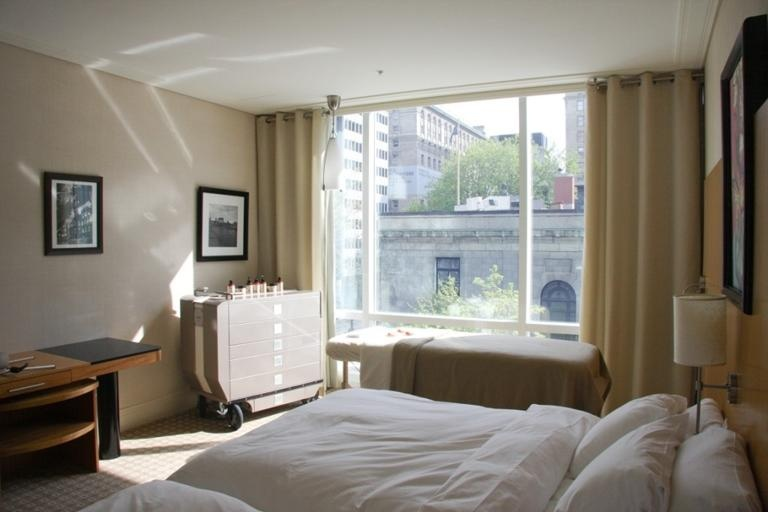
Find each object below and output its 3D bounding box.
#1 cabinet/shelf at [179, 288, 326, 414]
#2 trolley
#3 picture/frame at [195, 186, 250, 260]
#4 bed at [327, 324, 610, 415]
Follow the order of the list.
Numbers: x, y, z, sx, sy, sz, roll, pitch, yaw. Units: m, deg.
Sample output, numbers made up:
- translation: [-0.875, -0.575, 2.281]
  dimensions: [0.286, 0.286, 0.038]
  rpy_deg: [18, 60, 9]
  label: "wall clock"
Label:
- translation: [-1.366, 0.925, 6.315]
  dimensions: [1.065, 1.672, 1.886]
  rpy_deg: [-2, -1, 44]
  label: "cabinet/shelf"
- translation: [-1.415, 1.061, 6.128]
  dimensions: [0.737, 1.237, 1.399]
  rpy_deg: [1, 1, 39]
  label: "trolley"
- translation: [-1.839, -0.372, 6.318]
  dimensions: [0.048, 0.985, 0.827]
  rpy_deg: [2, 3, 40]
  label: "picture/frame"
- translation: [0.775, 0.972, 5.068]
  dimensions: [1.619, 0.443, 0.953]
  rpy_deg: [0, 2, 20]
  label: "bed"
